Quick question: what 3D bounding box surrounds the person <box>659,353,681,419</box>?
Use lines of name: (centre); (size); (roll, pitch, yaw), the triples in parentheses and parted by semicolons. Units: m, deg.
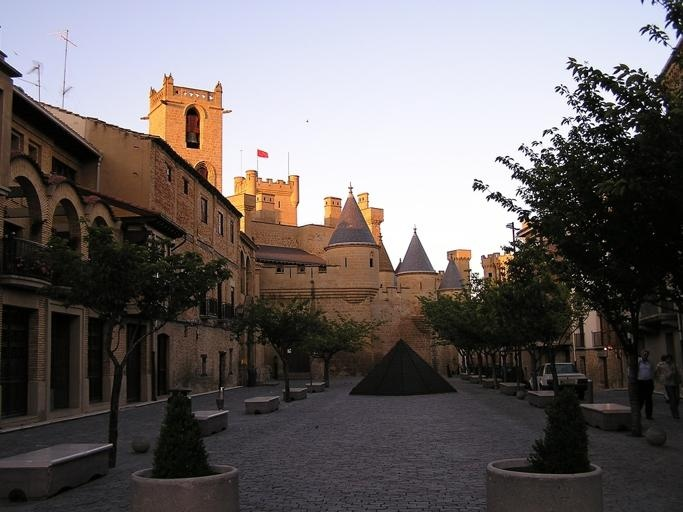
person: (9.748, 3.838, 19.623); (0.550, 1.887, 0.918); (-6, -11, 25)
